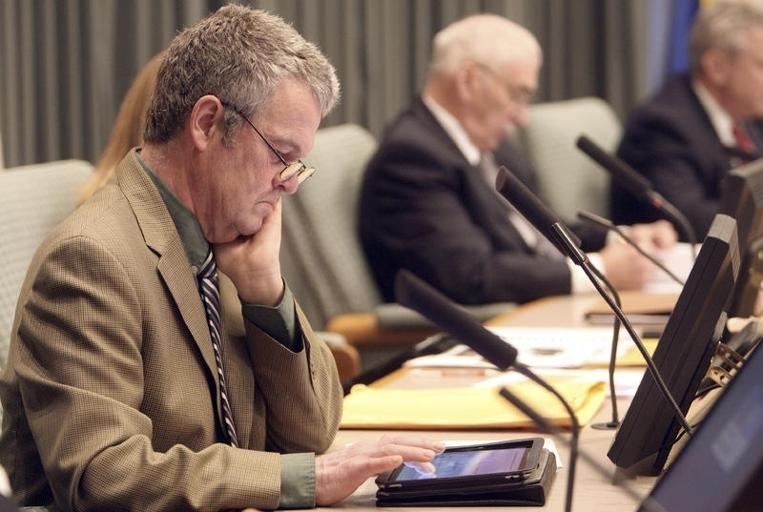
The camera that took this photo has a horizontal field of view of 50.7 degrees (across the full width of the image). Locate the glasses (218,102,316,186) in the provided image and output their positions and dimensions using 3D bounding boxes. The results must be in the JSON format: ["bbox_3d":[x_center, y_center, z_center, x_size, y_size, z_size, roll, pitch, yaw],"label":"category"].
[{"bbox_3d":[-0.207,-0.199,1.462,0.038,0.137,0.132,-34,-9,5],"label":"glasses"}]

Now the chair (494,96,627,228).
[{"bbox_3d":[0.870,-0.429,4.025,0.551,0.859,0.608,-5,4,-27],"label":"chair"}]

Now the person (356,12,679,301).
[{"bbox_3d":[0.458,-0.339,2.938,0.787,1.474,0.691,0,32,11],"label":"person"}]

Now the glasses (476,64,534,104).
[{"bbox_3d":[0.331,-0.444,2.072,0.063,0.112,0.206,10,20,40],"label":"glasses"}]
